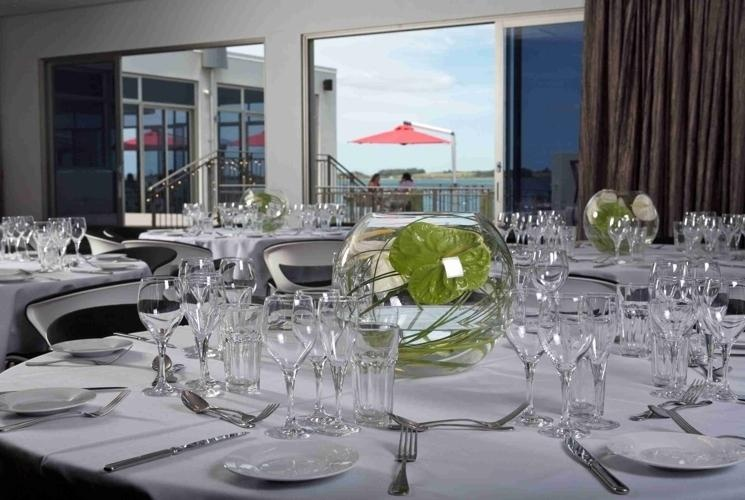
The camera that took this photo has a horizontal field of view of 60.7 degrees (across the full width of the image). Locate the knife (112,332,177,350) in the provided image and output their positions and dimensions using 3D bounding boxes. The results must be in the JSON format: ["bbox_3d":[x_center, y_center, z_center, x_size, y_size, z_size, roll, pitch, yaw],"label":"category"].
[{"bbox_3d":[-0.619,0.244,1.721,0.292,0.016,0.041,7,9,37],"label":"knife"}]

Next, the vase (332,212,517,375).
[{"bbox_3d":[0.130,0.090,1.459,0.356,0.330,0.369,1,-5,-9],"label":"vase"}]

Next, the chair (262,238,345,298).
[{"bbox_3d":[-0.502,0.052,4.409,0.444,0.571,0.446,-2,11,-15],"label":"chair"}]

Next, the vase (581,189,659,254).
[{"bbox_3d":[1.185,-0.099,3.056,0.288,0.329,0.311,-1,-2,12],"label":"vase"}]

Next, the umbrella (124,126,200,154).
[{"bbox_3d":[-4.395,-2.243,12.789,0.881,0.496,1.772,1,12,8],"label":"umbrella"}]
